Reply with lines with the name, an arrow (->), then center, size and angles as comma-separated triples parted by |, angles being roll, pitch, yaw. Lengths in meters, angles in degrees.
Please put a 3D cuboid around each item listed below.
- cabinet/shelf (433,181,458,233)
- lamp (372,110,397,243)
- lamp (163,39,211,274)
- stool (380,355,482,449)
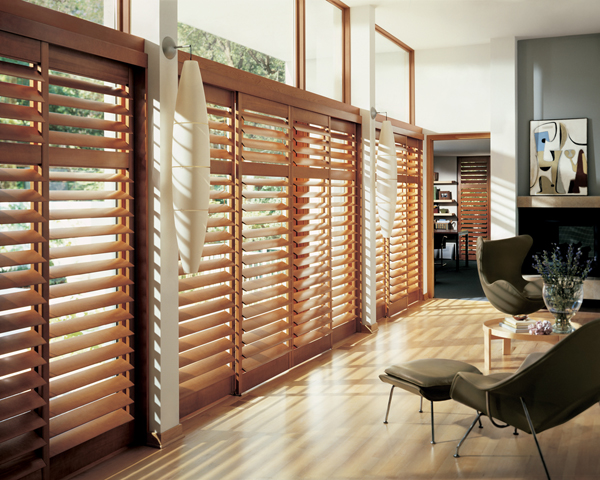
cabinet/shelf -> 3.382, -0.777, 11.803 | 0.550, 1.065, 1.137 | 1, 5, 16
lamp -> 0.880, -0.585, 5.191 | 0.197, 1.172, 0.234 | 1, 6, 8
lamp -> -0.645, -0.407, 2.965 | 0.237, 1.212, 0.186 | 0, 5, 0
stool -> 0.805, 1.049, 3.389 | 0.693, 0.375, 0.568 | 1, -2, -44
